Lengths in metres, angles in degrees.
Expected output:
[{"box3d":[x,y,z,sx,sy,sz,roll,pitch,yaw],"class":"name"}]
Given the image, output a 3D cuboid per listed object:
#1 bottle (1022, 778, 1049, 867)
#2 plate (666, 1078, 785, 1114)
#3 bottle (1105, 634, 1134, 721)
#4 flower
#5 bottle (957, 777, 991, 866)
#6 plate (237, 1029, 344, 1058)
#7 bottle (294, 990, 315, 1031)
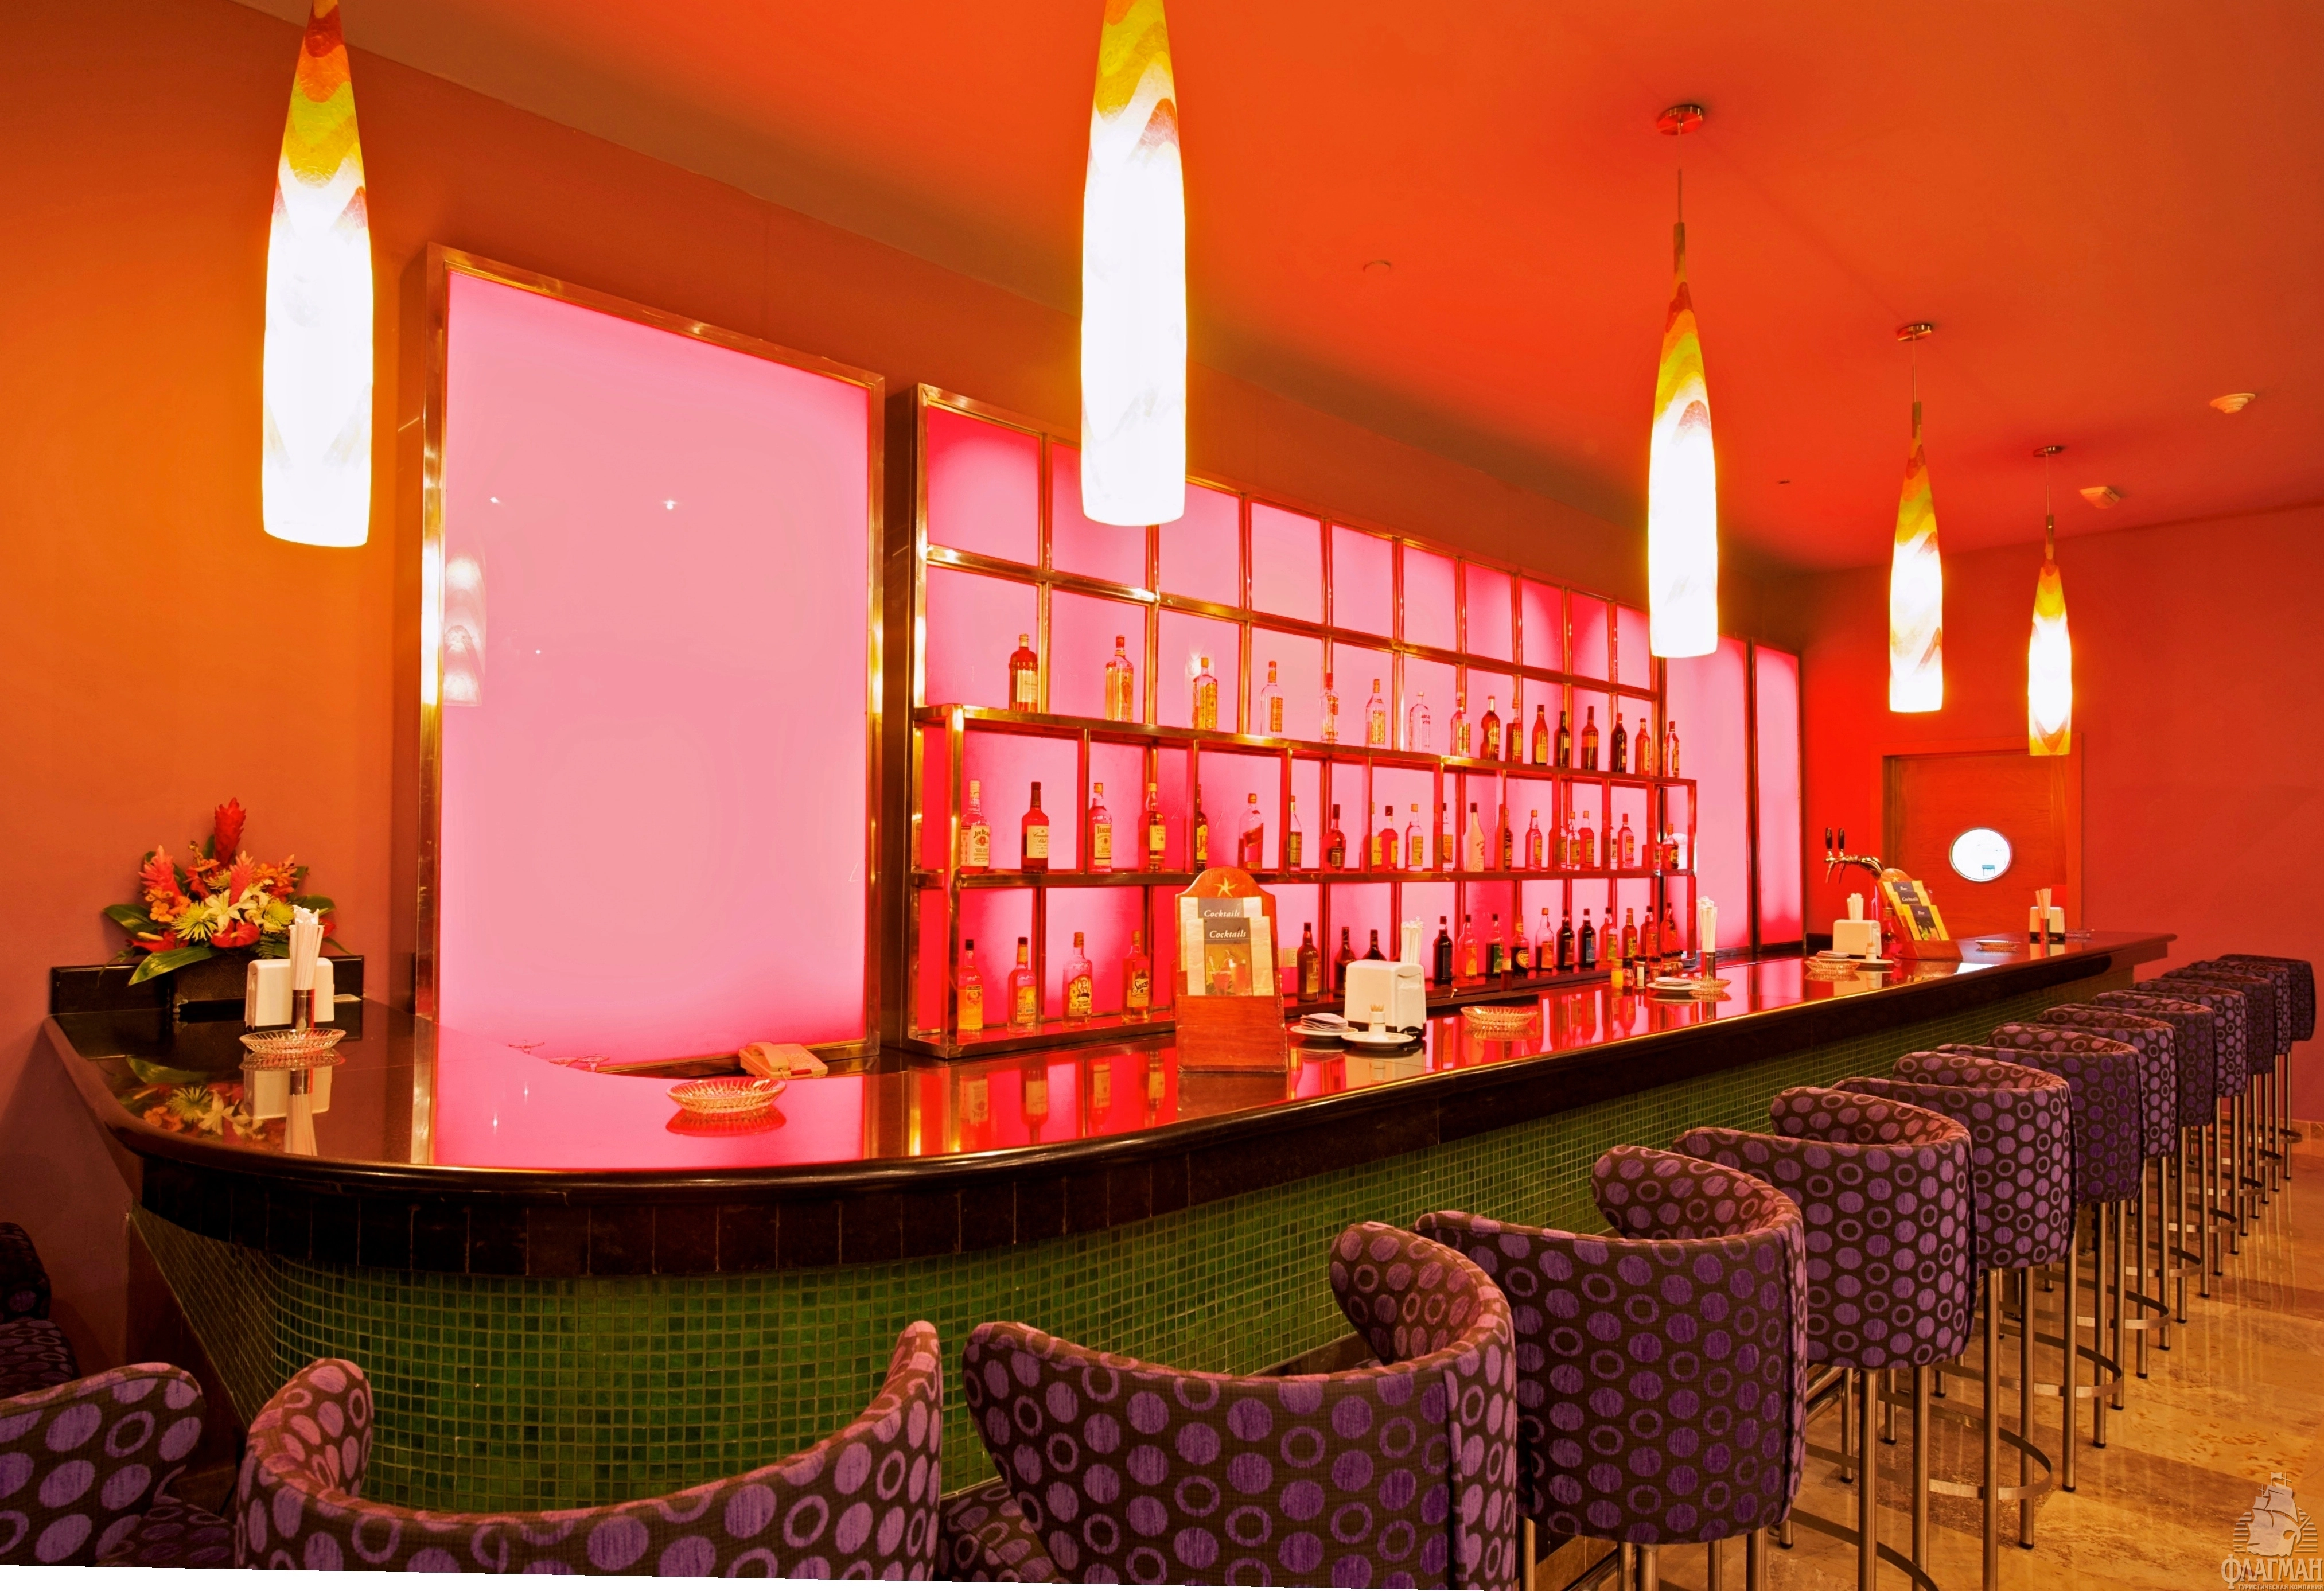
[{"box3d":[-0.440,0.090,6.168,0.103,0.310,0.301,0,-4,-5],"class":"bottle"},{"box3d":[-0.992,0.679,4.107,0.240,0.074,0.188,1,-4,-15],"class":"plate"},{"box3d":[-0.158,-0.434,6.481,0.117,0.340,0.303,0,-4,-2],"class":"bottle"},{"box3d":[-2.654,0.274,5.111,0.529,0.392,0.541,4,-4,-10],"class":"flower"},{"box3d":[-0.631,0.080,6.034,0.100,0.319,0.378,0,-4,-5],"class":"bottle"},{"box3d":[-2.157,0.613,4.509,0.130,0.033,0.125,1,-1,-44],"class":"plate"},{"box3d":[-2.190,0.544,4.620,0.044,0.093,0.086,2,-4,-28],"class":"bottle"}]
